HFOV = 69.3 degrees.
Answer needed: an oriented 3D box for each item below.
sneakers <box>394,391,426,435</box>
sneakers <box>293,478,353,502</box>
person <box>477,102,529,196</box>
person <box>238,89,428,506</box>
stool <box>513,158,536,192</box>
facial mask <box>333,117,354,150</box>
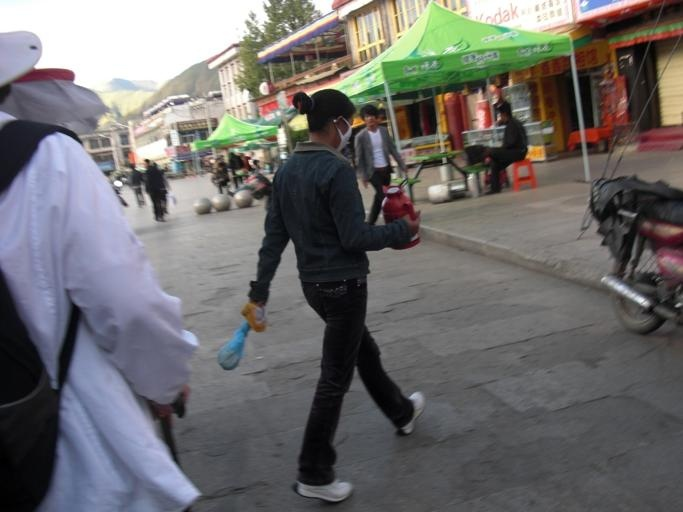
[{"bbox_3d":[0.481,1.044,3.430,0.126,0.155,0.336,2,54,41],"label":"sneakers"},{"bbox_3d":[-0.102,1.293,2.813,0.319,0.140,0.131,4,8,-19],"label":"sneakers"},{"bbox_3d":[4.039,-2.635,12.163,0.978,2.093,0.682,-3,17,22],"label":"person"},{"bbox_3d":[-0.106,0.214,2.862,1.012,2.251,0.588,-20,18,-33],"label":"person"},{"bbox_3d":[4.585,-2.008,12.374,0.703,0.616,0.716,-14,15,-9],"label":"stool"},{"bbox_3d":[0.018,-0.698,2.831,0.102,0.153,0.135,0,8,-33],"label":"facial mask"}]
